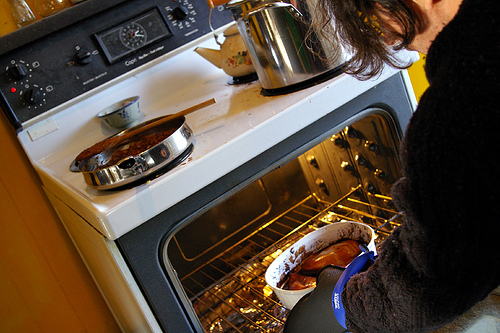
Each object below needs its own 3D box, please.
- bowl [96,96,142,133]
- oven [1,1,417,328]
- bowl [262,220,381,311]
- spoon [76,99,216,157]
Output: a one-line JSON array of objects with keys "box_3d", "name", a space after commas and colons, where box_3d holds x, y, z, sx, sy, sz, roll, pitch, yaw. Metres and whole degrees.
[{"box_3d": [-0.467, -0.189, 1.521, 0.165, 0.102, 0.165, -14, 27, 7], "name": "bowl"}, {"box_3d": [-0.172, -0.033, 1.284, 0.747, 1.017, 0.517, -30, 36, -32], "name": "oven"}, {"box_3d": [0.234, 0.315, 1.341, 0.366, 0.124, 0.263, -35, 15, -36], "name": "bowl"}, {"box_3d": [-0.329, -0.118, 1.288, 0.340, 0.021, 0.093, -23, 14, -11], "name": "spoon"}]
